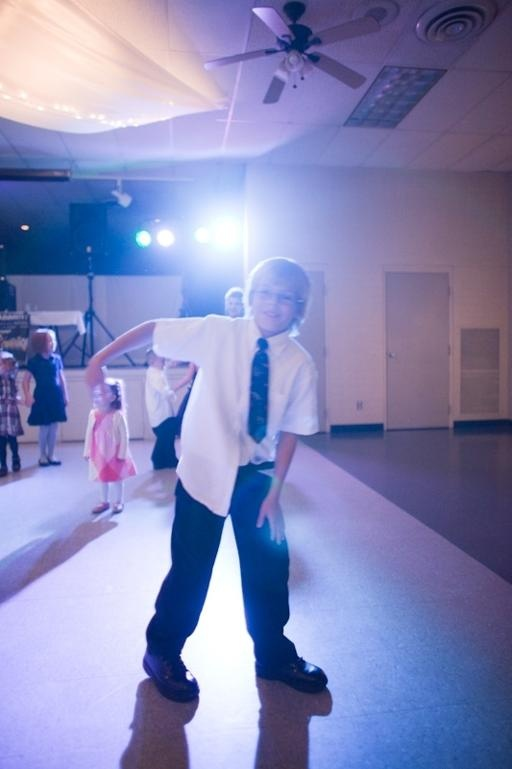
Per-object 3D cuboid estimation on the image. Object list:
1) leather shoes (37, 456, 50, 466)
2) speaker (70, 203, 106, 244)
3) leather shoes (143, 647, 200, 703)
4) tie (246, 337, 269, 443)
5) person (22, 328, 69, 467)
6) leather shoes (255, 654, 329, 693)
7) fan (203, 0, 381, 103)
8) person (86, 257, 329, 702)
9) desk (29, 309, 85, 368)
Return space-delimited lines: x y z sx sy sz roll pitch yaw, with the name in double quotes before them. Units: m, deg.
"leather shoes" -1.719 0.617 4.776 0.103 0.064 0.114 0 6 1
"speaker" -2.025 -1.948 7.179 0.421 0.629 0.322 0 2 -4
"leather shoes" -0.261 0.887 1.877 0.124 0.150 0.210 2 -1 -35
"tie" 0.005 0.019 1.713 0.065 0.300 0.038 -1 5 -11
"person" -1.784 0.087 5.037 0.322 1.100 0.962 -2 6 -18
"leather shoes" 0.112 0.895 1.894 0.220 0.105 0.087 -4 -4 24
"fan" 0.325 -1.941 3.466 0.535 0.263 0.623 -3 -4 9
"person" -0.096 0.287 1.793 0.628 1.316 0.289 -2 5 -17
"desk" -2.392 -0.715 7.713 0.536 0.804 0.753 8 8 9
